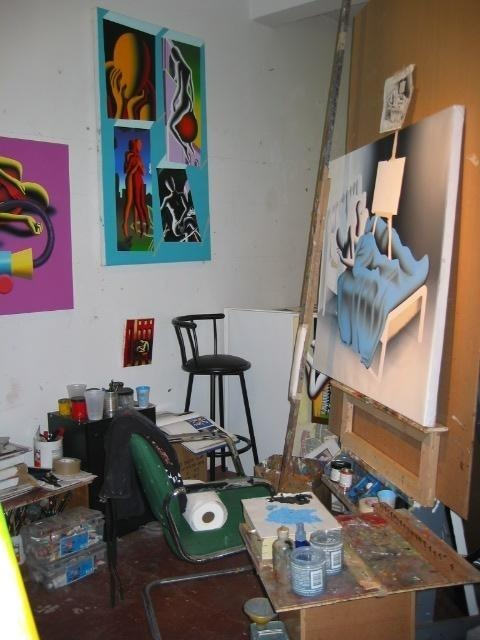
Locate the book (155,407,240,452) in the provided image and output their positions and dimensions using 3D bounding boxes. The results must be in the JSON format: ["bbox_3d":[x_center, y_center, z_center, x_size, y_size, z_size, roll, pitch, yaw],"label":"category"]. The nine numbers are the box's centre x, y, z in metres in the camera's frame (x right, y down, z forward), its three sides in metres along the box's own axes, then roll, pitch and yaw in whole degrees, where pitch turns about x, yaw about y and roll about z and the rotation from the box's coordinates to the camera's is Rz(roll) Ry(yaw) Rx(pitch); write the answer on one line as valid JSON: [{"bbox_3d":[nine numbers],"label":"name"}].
[{"bbox_3d":[-0.238,0.584,2.693,0.274,0.082,0.415,-7,23,-39],"label":"book"}]

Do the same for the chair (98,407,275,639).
[{"bbox_3d":[-0.208,0.684,2.105,0.788,1.117,0.618,-4,5,-10],"label":"chair"}]

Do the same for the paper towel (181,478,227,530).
[{"bbox_3d":[-0.145,0.668,1.883,0.154,0.194,0.193,-8,11,-8],"label":"paper towel"}]

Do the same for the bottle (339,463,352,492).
[{"bbox_3d":[0.427,0.641,2.011,0.053,0.078,0.068,8,7,9],"label":"bottle"}]

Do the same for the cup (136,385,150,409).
[{"bbox_3d":[-0.523,0.428,2.763,0.090,0.127,0.099,0,-5,0],"label":"cup"}]

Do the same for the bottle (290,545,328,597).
[{"bbox_3d":[0.149,0.547,1.085,0.076,0.081,0.067,-2,4,-11],"label":"bottle"}]

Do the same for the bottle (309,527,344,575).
[{"bbox_3d":[0.208,0.536,1.181,0.069,0.085,0.071,-2,0,-34],"label":"bottle"}]

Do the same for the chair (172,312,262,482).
[{"bbox_3d":[-0.141,0.490,3.062,0.443,1.019,0.476,-5,9,-10],"label":"chair"}]

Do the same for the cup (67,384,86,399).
[{"bbox_3d":[-0.840,0.353,2.580,0.086,0.074,0.077,4,-3,-44],"label":"cup"}]

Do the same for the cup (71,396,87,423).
[{"bbox_3d":[-0.794,0.439,2.466,0.086,0.112,0.094,0,3,0],"label":"cup"}]

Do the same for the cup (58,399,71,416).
[{"bbox_3d":[-0.881,0.437,2.507,0.065,0.084,0.069,3,1,0],"label":"cup"}]
